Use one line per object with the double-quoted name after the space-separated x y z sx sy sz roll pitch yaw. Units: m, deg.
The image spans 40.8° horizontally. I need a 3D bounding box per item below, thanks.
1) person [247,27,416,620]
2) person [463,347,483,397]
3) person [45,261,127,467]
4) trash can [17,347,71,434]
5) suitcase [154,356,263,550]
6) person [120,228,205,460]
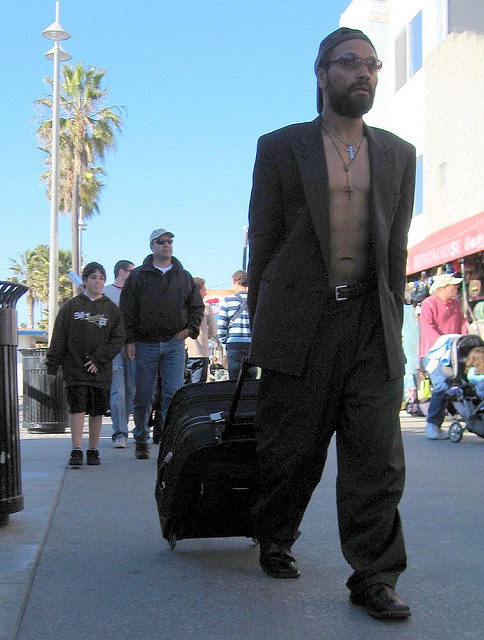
0.295 -0.066 2.383 0.616 2.088 0.545 -1 -1 13 "person"
3.225 0.706 8.917 0.219 0.648 0.568 -1 -1 -1 "person"
-1.607 0.408 6.596 0.525 1.982 0.733 -2 -1 34 "person"
-2.784 1.115 9.980 0.989 1.230 1.029 3 -7 -39 "trash can"
-0.129 0.634 2.840 0.484 0.968 0.887 -1 -1 -7 "suitcase"
-0.857 0.250 7.148 0.997 2.388 0.723 0 -3 -8 "person"
